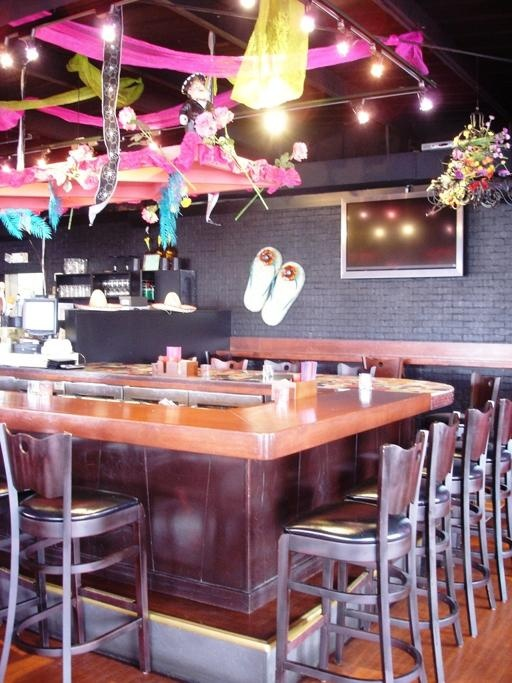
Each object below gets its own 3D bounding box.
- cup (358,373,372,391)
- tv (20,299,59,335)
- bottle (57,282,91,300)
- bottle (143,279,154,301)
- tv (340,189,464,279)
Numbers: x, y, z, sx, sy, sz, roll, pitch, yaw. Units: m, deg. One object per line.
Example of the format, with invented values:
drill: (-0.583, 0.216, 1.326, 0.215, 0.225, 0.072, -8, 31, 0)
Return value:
cup: (0.589, 0.217, 3.268, 0.061, 0.059, 0.108, -25, -5, 3)
tv: (-1.692, -0.196, 4.750, 0.299, 0.284, 0.153, 3, -1, 21)
bottle: (-2.985, -0.834, 9.908, 0.561, 0.269, 0.269, 0, 7, -3)
bottle: (-1.541, -0.732, 8.703, 0.119, 0.311, 0.338, 0, 4, 14)
tv: (1.706, -1.285, 7.231, 1.495, 0.973, 0.140, -2, 10, -1)
